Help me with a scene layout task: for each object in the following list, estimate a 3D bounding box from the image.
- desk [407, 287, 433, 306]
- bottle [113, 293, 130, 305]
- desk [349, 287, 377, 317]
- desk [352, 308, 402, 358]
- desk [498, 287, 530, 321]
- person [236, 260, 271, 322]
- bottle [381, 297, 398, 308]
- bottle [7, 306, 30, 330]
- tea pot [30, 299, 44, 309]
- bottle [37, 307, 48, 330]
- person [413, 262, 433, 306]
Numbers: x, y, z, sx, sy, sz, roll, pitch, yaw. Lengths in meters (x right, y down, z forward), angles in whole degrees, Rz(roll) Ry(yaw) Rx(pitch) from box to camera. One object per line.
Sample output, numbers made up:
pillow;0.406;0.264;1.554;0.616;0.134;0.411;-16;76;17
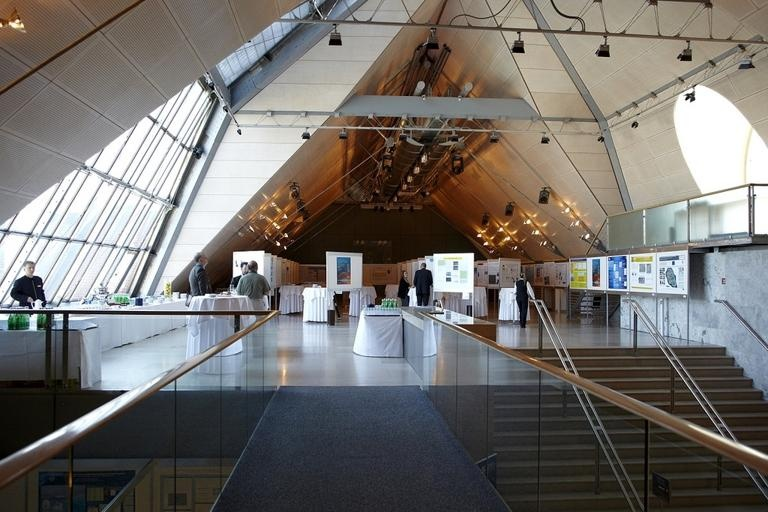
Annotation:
desk;1.314;1.524;17.907;0.875;0.878;0.885;0;-5;-1
bottle;-5.564;0.926;10.475;0.361;0.189;0.514;1;5;-11
desk;-0.941;1.733;20.008;1.397;1.481;1.434;2;-13;-3
desk;-0.115;1.651;10.926;0.936;0.789;1.206;0;-2;-2
desk;4.725;1.662;17.138;1.013;1.182;1.059;3;-6;-1
person;-2.897;0.816;10.949;0.677;1.537;0.524;0;29;-17
bottle;0.139;1.065;11.164;0.378;0.175;0.491;0;1;3
bottle;-5.555;0.960;7.491;0.306;0.301;0.111;0;0;11
tea pot;-6.276;0.868;8.909;0.161;0.159;0.099;12;7;29
bottle;-5.162;0.981;7.429;0.177;0.252;0.028;0;0;20
person;1.221;0.928;15.302;0.538;1.577;0.483;7;24;16
